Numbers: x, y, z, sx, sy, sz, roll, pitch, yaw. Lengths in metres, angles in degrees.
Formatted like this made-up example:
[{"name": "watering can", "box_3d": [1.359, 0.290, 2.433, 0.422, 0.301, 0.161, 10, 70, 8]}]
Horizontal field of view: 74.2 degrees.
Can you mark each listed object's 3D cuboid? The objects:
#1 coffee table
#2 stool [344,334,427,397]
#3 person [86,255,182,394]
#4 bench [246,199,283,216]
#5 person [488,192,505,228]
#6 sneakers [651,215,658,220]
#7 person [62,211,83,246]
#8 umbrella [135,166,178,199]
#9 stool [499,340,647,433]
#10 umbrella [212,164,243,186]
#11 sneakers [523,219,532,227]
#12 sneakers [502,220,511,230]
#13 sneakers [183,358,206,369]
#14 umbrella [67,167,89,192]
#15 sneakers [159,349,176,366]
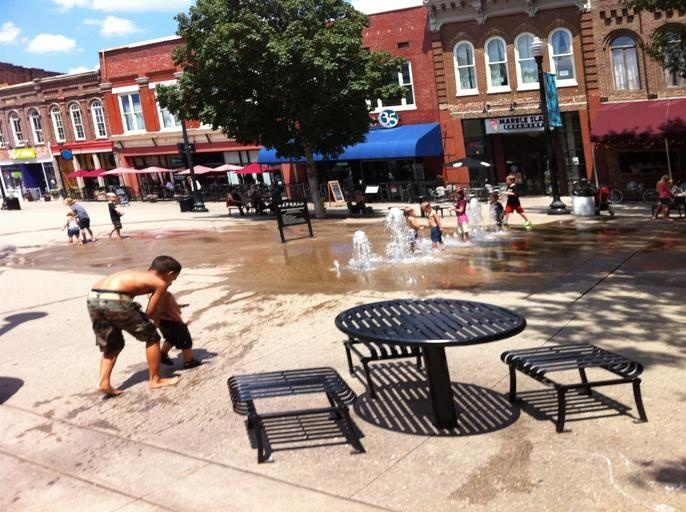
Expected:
[{"name": "coffee table", "box_3d": [0.947, 0.762, 4.835, 1.593, 0.798, 1.516, -6, 15, -2]}, {"name": "stool", "box_3d": [0.490, 1.243, 5.971, 0.909, 0.927, 1.050, -9, 11, -11]}, {"name": "person", "box_3d": [-2.666, 0.971, 5.862, 1.187, 1.784, 0.563, -10, 15, -22]}, {"name": "bench", "box_3d": [-4.225, -2.601, 24.378, 1.301, 0.530, 1.846, -6, 15, -20]}, {"name": "person", "box_3d": [5.919, -1.769, 17.365, 0.484, 1.364, 1.684, 0, 14, 19]}, {"name": "sneakers", "box_3d": [12.022, -1.454, 17.503, 0.143, 0.152, 0.411, -6, 0, 23]}, {"name": "person", "box_3d": [-12.184, -1.327, 20.331, 0.519, 1.450, 2.283, -13, 16, -31]}, {"name": "umbrella", "box_3d": [-16.997, -6.496, 42.362, 4.020, 2.441, 3.559, -8, 15, -31]}, {"name": "stool", "box_3d": [2.400, 1.310, 4.743, 1.060, 0.474, 0.995, -5, 2, -5]}, {"name": "umbrella", "box_3d": [-9.257, -6.552, 37.289, 2.299, 1.454, 2.122, 4, 21, 19]}, {"name": "sneakers", "box_3d": [7.015, -1.182, 17.154, 0.214, 0.227, 0.590, -8, 0, 24]}, {"name": "sneakers", "box_3d": [6.249, -1.134, 17.279, 0.246, 0.258, 0.650, -4, 1, 16]}, {"name": "sneakers", "box_3d": [-2.237, 1.605, 6.771, 0.141, 0.099, 0.257, 11, 16, 39]}, {"name": "umbrella", "box_3d": [-26.796, -7.685, 45.845, 2.461, 2.060, 2.373, 11, 12, 19]}, {"name": "sneakers", "box_3d": [-2.681, 1.539, 6.779, 0.345, 0.211, 0.113, -3, 11, -43]}]
